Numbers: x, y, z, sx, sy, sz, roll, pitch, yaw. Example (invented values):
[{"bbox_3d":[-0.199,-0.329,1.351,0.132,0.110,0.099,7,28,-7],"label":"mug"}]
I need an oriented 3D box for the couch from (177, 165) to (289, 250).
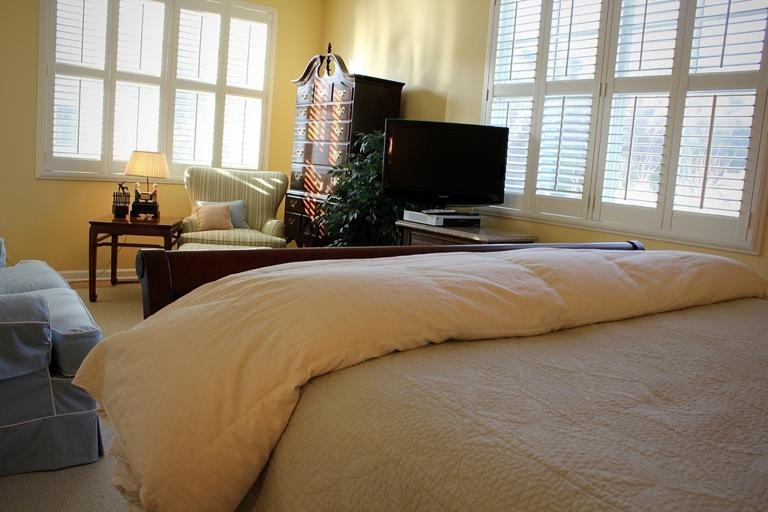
[{"bbox_3d":[-1.367,-0.507,5.202,1.179,1.085,1.012,1,0,-16],"label":"couch"}]

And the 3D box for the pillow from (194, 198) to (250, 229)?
[{"bbox_3d":[-1.559,-0.397,5.151,0.305,0.226,0.108,-2,1,-5],"label":"pillow"}]

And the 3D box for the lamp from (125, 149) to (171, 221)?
[{"bbox_3d":[-2.206,-0.671,5.078,0.339,0.605,0.619,-2,8,-25],"label":"lamp"}]
